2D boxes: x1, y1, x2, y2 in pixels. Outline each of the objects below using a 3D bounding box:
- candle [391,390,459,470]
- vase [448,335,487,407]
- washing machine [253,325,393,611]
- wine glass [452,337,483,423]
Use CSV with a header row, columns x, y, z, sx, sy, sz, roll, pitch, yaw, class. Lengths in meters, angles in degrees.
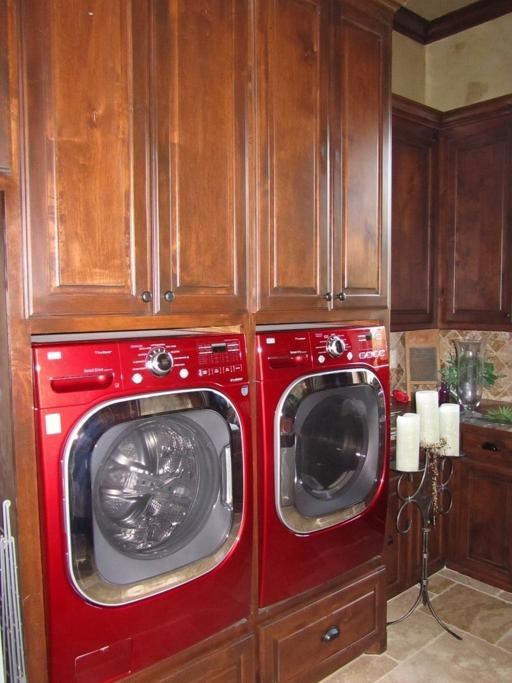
x,y,z,sx,sy,sz,roll,pitch,yaw,class
0.708,0.381,2.197,0.418,0.390,0.132,-4,2,-38,candle
1.119,0.189,2.780,0.162,0.429,0.167,-1,11,19,vase
0.146,0.398,1.956,0.588,0.859,0.452,-6,8,-35,washing machine
1.115,0.181,2.773,0.139,0.373,0.143,0,1,10,wine glass
